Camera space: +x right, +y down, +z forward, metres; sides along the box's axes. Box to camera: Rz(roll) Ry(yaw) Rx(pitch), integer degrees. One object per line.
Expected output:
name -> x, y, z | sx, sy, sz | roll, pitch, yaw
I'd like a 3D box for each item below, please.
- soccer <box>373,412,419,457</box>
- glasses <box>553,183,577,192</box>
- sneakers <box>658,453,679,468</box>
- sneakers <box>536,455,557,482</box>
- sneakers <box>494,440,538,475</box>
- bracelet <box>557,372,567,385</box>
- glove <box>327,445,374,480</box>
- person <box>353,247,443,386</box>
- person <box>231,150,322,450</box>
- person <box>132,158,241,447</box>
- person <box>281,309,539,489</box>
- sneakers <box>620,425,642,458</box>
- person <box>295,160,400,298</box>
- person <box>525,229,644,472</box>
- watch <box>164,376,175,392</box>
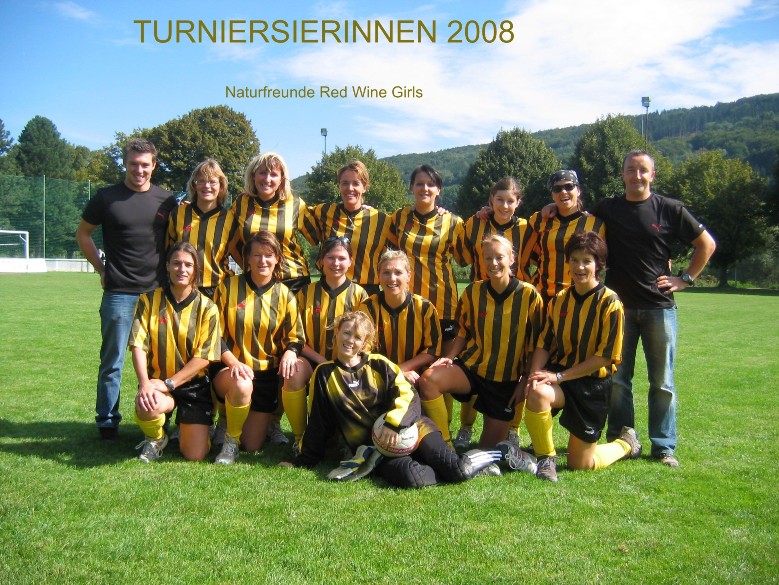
soccer -> 0.052, 1.141, 5.958 | 0.285, 0.294, 0.358 | 1, 2, 0
glasses -> 1.629, -0.984, 6.824 | 0.192, 0.093, 0.073 | 2, 8, 14
sneakers -> 2.389, 1.424, 6.242 | 0.154, 0.065, 0.195 | 1, 8, 3
sneakers -> 1.279, 1.412, 5.902 | 0.174, 0.132, 0.255 | 2, 8, 12
sneakers -> 1.030, 1.380, 6.111 | 0.143, 0.196, 0.416 | -10, 5, -40
bracelet -> 1.426, 0.708, 6.080 | 0.052, 0.087, 0.081 | 2, 3, 3
glove -> -0.291, 1.361, 5.841 | 0.403, 0.214, 0.240 | -6, 10, -40
person -> 0.057, 0.247, 6.491 | 0.775, 1.327, 0.733 | 2, 27, 8
person -> -1.195, -0.100, 7.292 | 0.773, 2.500, 0.641 | 1, 18, -14
person -> -1.816, -0.096, 7.175 | 0.647, 2.330, 0.643 | 4, 20, -11
person -> 0.137, 0.873, 5.942 | 1.794, 1.282, 0.966 | 8, 16, 21
sneakers -> 2.141, 1.318, 6.433 | 0.119, 0.144, 0.319 | -34, 36, 22
person -> -0.403, -0.268, 7.516 | 0.967, 2.154, 0.701 | 3, 12, 5
person -> 1.505, 0.658, 6.180 | 1.019, 1.601, 0.663 | -6, 10, -42
watch -> -1.845, 0.775, 6.225 | 0.095, 0.109, 0.095 | 1, 31, 10
